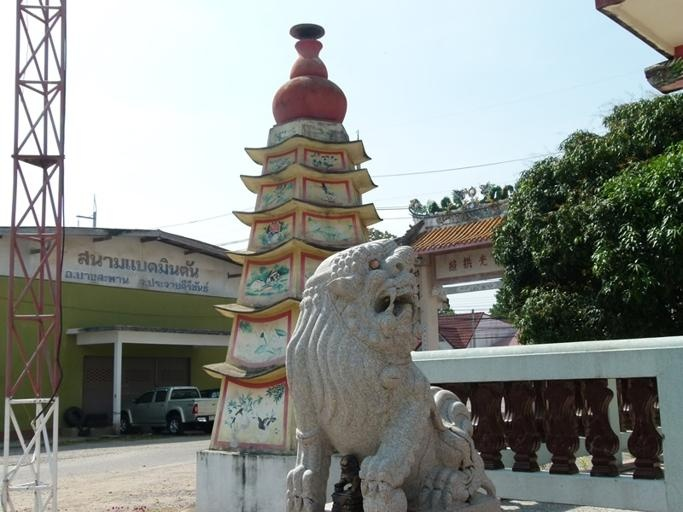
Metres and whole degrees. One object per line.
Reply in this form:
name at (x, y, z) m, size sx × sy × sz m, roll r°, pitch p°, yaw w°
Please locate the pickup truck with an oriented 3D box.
pickup truck at (-4.550, 4.008, 20.244) m, size 3.119 × 1.186 × 1.552 m, roll -4°, pitch -13°, yaw 33°
